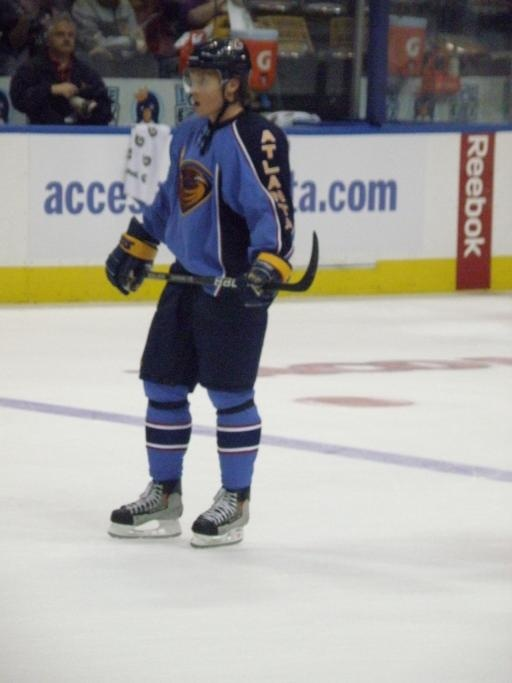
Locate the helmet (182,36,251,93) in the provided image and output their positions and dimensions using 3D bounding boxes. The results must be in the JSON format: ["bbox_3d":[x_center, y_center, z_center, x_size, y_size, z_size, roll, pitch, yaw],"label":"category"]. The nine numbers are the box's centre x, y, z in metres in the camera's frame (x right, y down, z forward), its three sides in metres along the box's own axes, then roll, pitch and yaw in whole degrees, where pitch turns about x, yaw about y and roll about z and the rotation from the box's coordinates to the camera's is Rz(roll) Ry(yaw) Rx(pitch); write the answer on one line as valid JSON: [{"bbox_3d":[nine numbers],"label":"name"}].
[{"bbox_3d":[-0.098,-0.747,2.241,0.164,0.127,0.181,1,12,-4],"label":"helmet"}]

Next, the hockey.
[{"bbox_3d":[-0.085,-0.207,2.295,0.593,0.169,0.006,5,-1,37],"label":"hockey"}]
